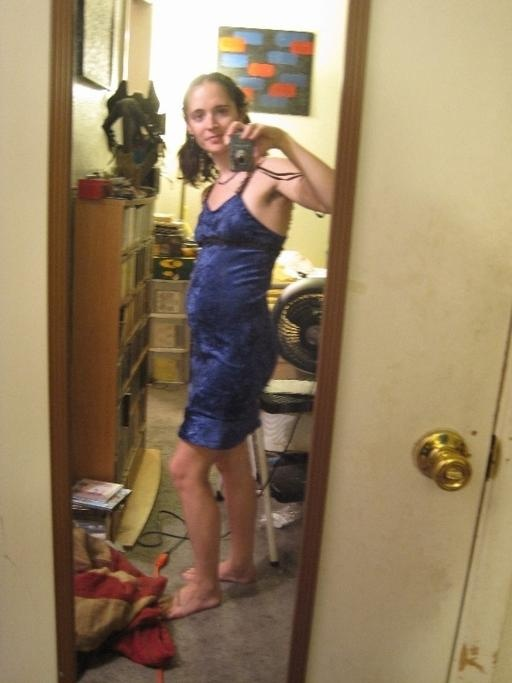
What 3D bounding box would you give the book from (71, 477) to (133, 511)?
[{"bbox_3d":[-0.258,0.258,1.030,0.083,0.017,0.057,0,30,9],"label":"book"}]
